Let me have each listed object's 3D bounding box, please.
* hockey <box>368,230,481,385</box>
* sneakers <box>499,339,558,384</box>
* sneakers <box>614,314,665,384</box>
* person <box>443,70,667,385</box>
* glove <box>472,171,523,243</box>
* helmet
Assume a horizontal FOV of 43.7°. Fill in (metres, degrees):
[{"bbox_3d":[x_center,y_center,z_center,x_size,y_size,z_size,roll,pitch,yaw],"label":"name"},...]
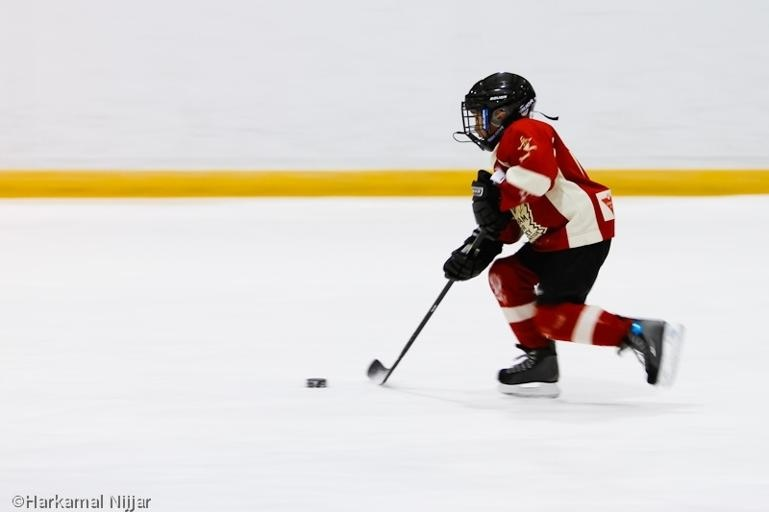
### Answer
[{"bbox_3d":[0.216,0.305,5.203,0.181,0.986,0.142,49,-9,-26],"label":"hockey"},{"bbox_3d":[0.639,0.498,4.448,0.358,0.183,0.113,1,2,-27],"label":"sneakers"},{"bbox_3d":[1.158,0.399,4.258,0.299,0.304,0.120,0,17,7],"label":"sneakers"},{"bbox_3d":[0.788,-0.093,4.395,0.921,1.470,0.468,4,-7,-14],"label":"person"},{"bbox_3d":[0.505,-0.243,4.305,0.296,0.247,0.219,-4,4,16],"label":"glove"},{"bbox_3d":[0.543,-0.673,4.484,0.377,0.294,0.358,-9,8,-36],"label":"helmet"}]
